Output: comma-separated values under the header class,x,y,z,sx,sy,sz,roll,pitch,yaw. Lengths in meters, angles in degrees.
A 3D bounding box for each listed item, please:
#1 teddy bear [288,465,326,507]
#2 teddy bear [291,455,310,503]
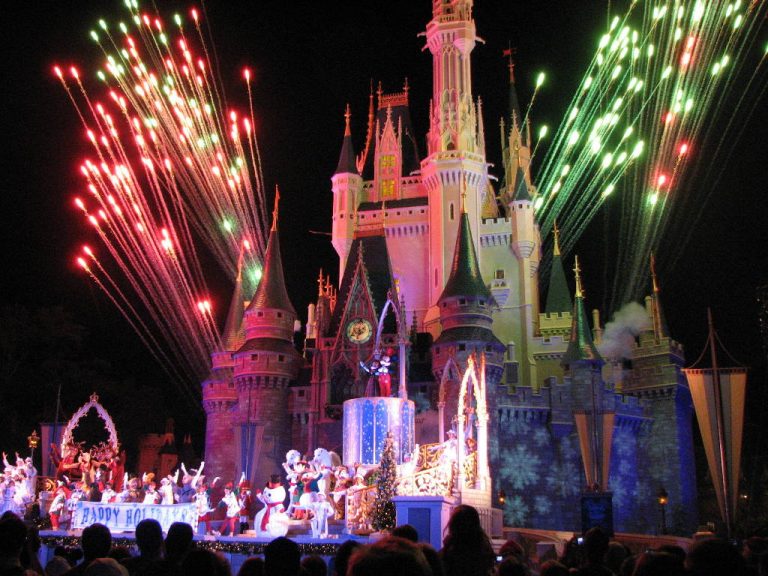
class,x,y,z,sx,sy,sz,roll,pitch,yaw
teddy bear,-2.313,5.908,27.577,0.918,1.472,1.079,4,2,-39
teddy bear,-2.565,5.830,27.853,0.512,1.515,0.468,-3,14,-12
